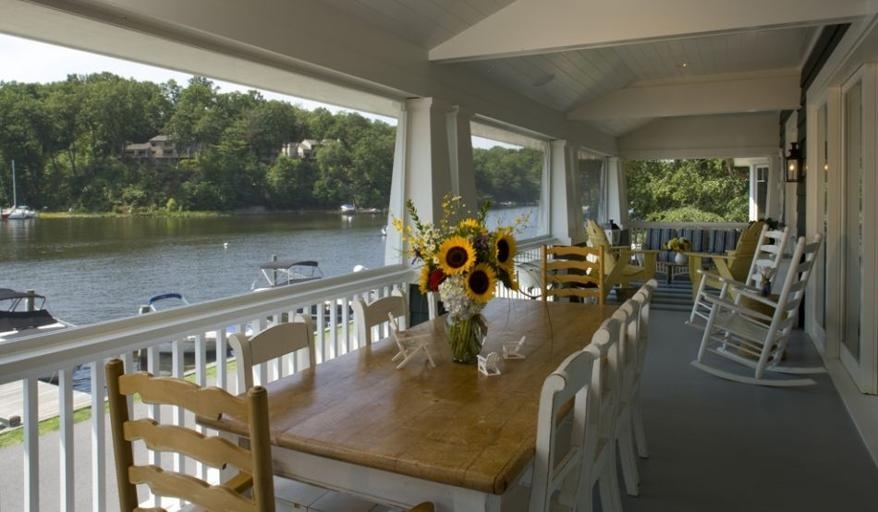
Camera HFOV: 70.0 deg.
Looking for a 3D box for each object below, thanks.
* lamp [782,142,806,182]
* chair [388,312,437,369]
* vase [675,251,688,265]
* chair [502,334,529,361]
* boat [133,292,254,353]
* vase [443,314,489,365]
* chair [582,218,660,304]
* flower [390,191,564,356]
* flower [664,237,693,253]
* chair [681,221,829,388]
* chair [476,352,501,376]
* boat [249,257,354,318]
[{"bbox_3d":[4.543,-1.200,7.988,0.202,0.506,0.624,3,9,30],"label":"lamp"},{"bbox_3d":[-0.209,0.589,4.579,0.380,0.385,0.366,-8,16,-8],"label":"chair"},{"bbox_3d":[4.274,0.052,11.076,0.238,0.238,0.241,-1,11,20],"label":"vase"},{"bbox_3d":[0.549,0.659,4.501,0.164,0.141,0.154,-1,0,0],"label":"chair"},{"bbox_3d":[-1.830,0.458,4.815,1.044,0.385,0.344,-2,-11,22],"label":"boat"},{"bbox_3d":[0.231,0.600,4.572,0.262,0.235,0.547,3,18,4],"label":"vase"},{"bbox_3d":[2.877,0.018,9.675,1.004,1.055,0.799,2,1,11],"label":"chair"},{"bbox_3d":[0.166,0.212,4.460,0.783,0.975,0.960,-1,2,17],"label":"flower"},{"bbox_3d":[4.307,-0.198,11.268,0.369,0.206,0.370,-4,6,28],"label":"flower"},{"bbox_3d":[3.461,0.524,7.208,1.708,2.049,1.252,3,7,42],"label":"chair"},{"bbox_3d":[0.338,0.735,4.303,0.121,0.170,0.159,0,4,-14],"label":"chair"},{"bbox_3d":[-1.207,0.187,5.383,0.241,0.462,0.828,10,17,44],"label":"boat"}]
